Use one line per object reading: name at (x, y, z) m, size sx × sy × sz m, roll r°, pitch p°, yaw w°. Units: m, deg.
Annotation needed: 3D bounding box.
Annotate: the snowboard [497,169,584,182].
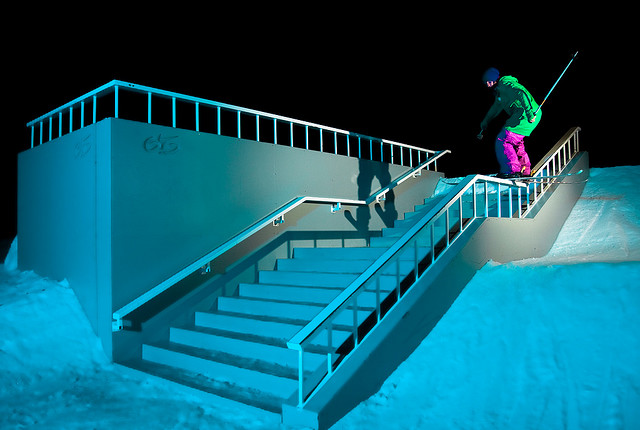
snowboard at (4.474, -0.786, 8.163) m, size 2.405 × 0.165 × 0.233 m, roll -5°, pitch -3°, yaw -13°
